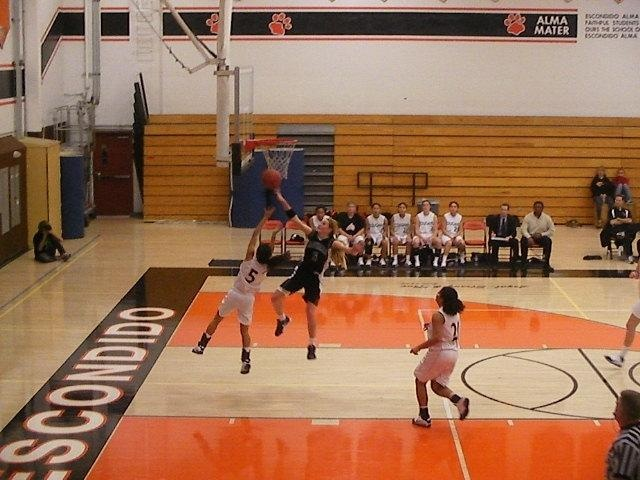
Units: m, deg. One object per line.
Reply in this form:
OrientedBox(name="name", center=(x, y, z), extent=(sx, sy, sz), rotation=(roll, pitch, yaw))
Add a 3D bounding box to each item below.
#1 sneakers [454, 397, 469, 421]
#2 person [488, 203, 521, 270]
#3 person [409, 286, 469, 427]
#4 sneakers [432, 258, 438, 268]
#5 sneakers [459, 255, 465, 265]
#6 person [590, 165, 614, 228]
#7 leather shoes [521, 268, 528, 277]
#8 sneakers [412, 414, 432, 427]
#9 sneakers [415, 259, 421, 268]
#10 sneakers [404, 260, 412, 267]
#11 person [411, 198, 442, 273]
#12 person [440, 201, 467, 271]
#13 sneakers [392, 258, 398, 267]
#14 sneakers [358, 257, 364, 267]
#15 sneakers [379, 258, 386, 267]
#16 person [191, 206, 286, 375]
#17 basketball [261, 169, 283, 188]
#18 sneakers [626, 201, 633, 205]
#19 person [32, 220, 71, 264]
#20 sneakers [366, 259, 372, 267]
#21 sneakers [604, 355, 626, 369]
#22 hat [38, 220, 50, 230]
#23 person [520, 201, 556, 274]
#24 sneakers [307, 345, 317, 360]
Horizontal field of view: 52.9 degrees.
OrientedBox(name="sneakers", center=(1.626, 1.859, 7.192), extent=(0.109, 0.317, 0.214), rotation=(0, -2, -31))
OrientedBox(name="person", center=(3.862, -0.177, 13.510), extent=(0.717, 1.256, 0.837), rotation=(5, 15, 16))
OrientedBox(name="person", center=(1.345, 1.319, 7.123), extent=(0.646, 1.637, 0.333), rotation=(2, 15, 8))
OrientedBox(name="sneakers", center=(2.437, 0.454, 13.464), extent=(0.113, 0.194, 0.216), rotation=(3, 15, 10))
OrientedBox(name="sneakers", center=(3.004, 0.394, 13.553), extent=(0.109, 0.186, 0.156), rotation=(4, 15, 13))
OrientedBox(name="person", center=(7.587, -1.212, 17.217), extent=(0.558, 1.520, 0.897), rotation=(-4, -3, 25))
OrientedBox(name="leather shoes", center=(4.176, 0.651, 13.134), extent=(0.153, 0.076, 0.539), rotation=(5, 15, 17))
OrientedBox(name="sneakers", center=(1.158, 2.060, 7.310), extent=(0.224, 0.102, 0.096), rotation=(8, 15, 30))
OrientedBox(name="sneakers", center=(2.045, 0.460, 13.450), extent=(0.097, 0.168, 0.238), rotation=(2, 15, 6))
OrientedBox(name="sneakers", center=(1.876, 0.482, 13.551), extent=(0.145, 0.110, 0.197), rotation=(3, 15, 8))
OrientedBox(name="person", center=(2.246, -0.158, 13.552), extent=(0.618, 1.348, 0.793), rotation=(2, 15, 6))
OrientedBox(name="person", center=(2.828, -0.136, 13.603), extent=(0.537, 1.277, 0.912), rotation=(3, 15, 10))
OrientedBox(name="sneakers", center=(1.589, 0.457, 13.521), extent=(0.110, 0.175, 0.156), rotation=(1, 15, 4))
OrientedBox(name="sneakers", center=(0.871, 0.449, 13.588), extent=(0.135, 0.223, 0.205), rotation=(4, -1, -3))
OrientedBox(name="sneakers", center=(1.345, 0.438, 13.540), extent=(0.149, 0.175, 0.288), rotation=(2, 15, 6))
OrientedBox(name="person", center=(-1.107, 0.653, 8.604), extent=(1.203, 2.159, 1.072), rotation=(-3, 15, -12))
OrientedBox(name="basketball", center=(-0.674, -0.835, 9.341), extent=(0.287, 0.293, 0.330), rotation=(-4, 43, 3))
OrientedBox(name="sneakers", center=(7.962, -0.989, 16.519), extent=(0.142, 0.105, 0.143), rotation=(1, 18, 12))
OrientedBox(name="person", center=(-5.517, 0.034, 13.165), extent=(0.850, 0.808, 0.501), rotation=(11, 18, 13))
OrientedBox(name="sneakers", center=(1.028, 0.477, 13.531), extent=(0.145, 0.172, 0.429), rotation=(-1, 3, 9))
OrientedBox(name="sneakers", center=(4.013, 1.625, 8.730), extent=(0.281, 0.156, 0.097), rotation=(24, 15, 17))
OrientedBox(name="hat", center=(-5.559, -0.304, 12.978), extent=(0.211, 0.165, 0.248), rotation=(-5, 16, -20))
OrientedBox(name="person", center=(4.600, -0.140, 13.577), extent=(0.663, 1.388, 1.149), rotation=(6, 16, 19))
OrientedBox(name="sneakers", center=(-0.111, 1.574, 9.026), extent=(0.082, 0.167, 0.249), rotation=(3, 16, 4))
